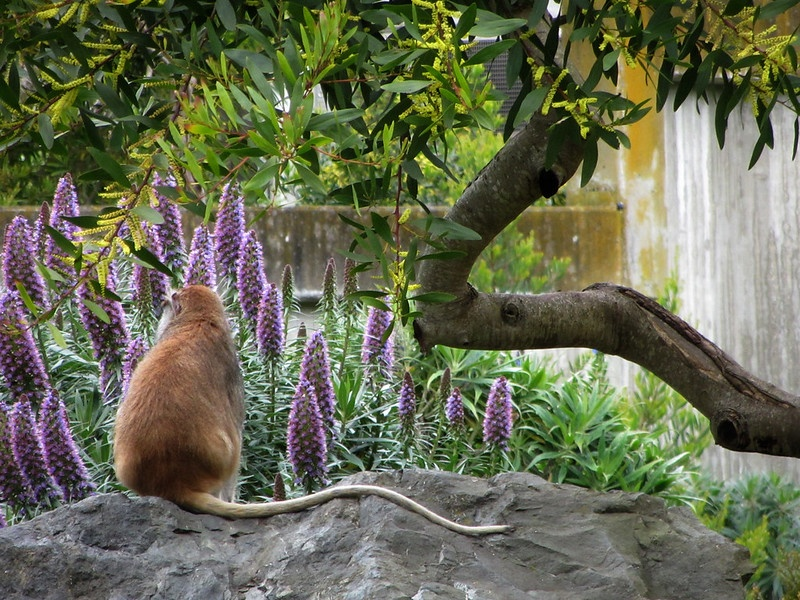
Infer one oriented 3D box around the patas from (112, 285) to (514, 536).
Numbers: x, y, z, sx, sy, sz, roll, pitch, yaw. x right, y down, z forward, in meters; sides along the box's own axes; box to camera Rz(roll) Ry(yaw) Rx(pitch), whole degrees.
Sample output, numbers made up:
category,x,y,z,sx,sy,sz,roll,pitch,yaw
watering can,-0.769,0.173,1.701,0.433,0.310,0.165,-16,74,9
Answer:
category,x,y,z,sx,sy,sz,roll,pitch,yaw
patas,-0.649,0.633,11.670,2.290,1.564,0.825,-4,-21,30
